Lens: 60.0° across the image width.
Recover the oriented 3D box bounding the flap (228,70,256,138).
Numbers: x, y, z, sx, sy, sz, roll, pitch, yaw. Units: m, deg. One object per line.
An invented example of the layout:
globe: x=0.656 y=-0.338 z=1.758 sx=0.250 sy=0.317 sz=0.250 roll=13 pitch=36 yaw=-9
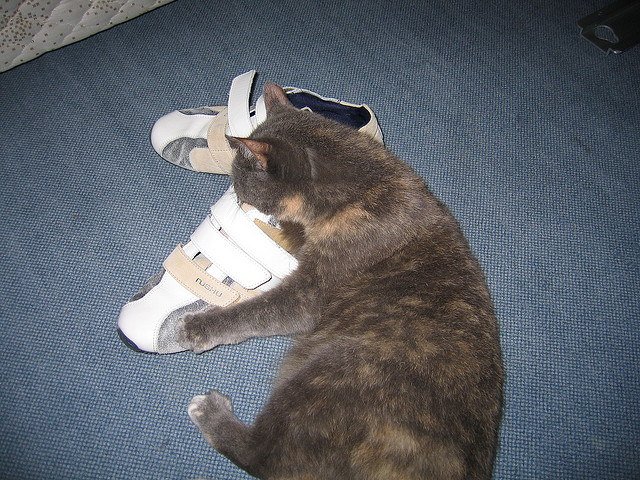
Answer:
flap: x=-0.252 y=-0.445 z=1.895 sx=0.099 sy=0.109 sz=0.254 roll=4 pitch=93 yaw=-4

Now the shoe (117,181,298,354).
shoe: x=-0.332 y=0.068 z=1.933 sx=0.317 sy=0.363 sz=0.876 roll=40 pitch=36 yaw=9

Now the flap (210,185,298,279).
flap: x=-0.206 y=-0.057 z=1.920 sx=0.431 sy=0.246 sz=0.275 roll=-3 pitch=41 yaw=-6

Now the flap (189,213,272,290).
flap: x=-0.298 y=0.035 z=1.829 sx=0.284 sy=0.085 sz=0.169 roll=37 pitch=101 yaw=-7
